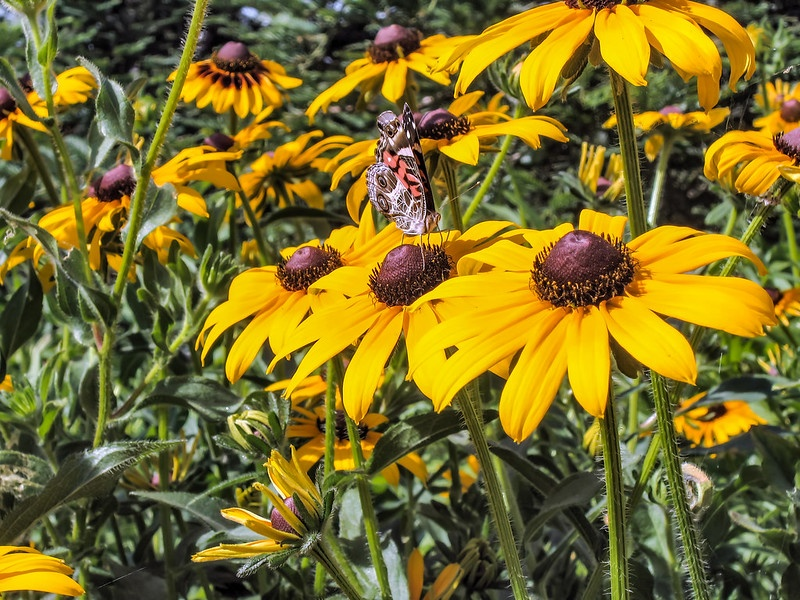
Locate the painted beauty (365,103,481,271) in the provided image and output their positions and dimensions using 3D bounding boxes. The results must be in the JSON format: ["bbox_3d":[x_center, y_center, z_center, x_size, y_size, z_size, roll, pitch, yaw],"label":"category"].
[{"bbox_3d":[0.018,-0.229,1.933,0.213,0.409,0.284,-1,5,-12],"label":"painted beauty"}]
